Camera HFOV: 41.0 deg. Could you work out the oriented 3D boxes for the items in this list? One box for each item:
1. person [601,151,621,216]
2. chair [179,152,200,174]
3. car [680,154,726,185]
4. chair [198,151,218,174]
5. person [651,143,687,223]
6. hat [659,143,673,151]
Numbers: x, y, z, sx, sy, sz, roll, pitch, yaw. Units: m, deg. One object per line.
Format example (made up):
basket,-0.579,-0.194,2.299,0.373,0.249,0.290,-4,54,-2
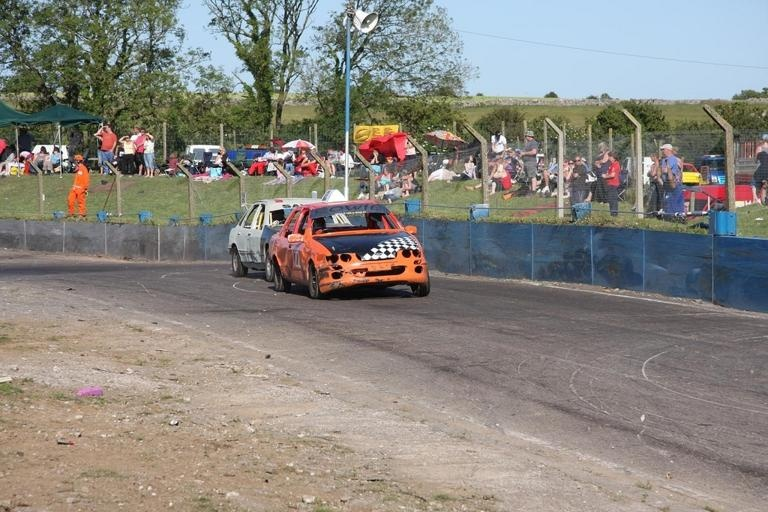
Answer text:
person,4.927,-1.651,22.420,0.346,1.175,0.553,-1,13,-12
chair,-8.588,-4.185,46.069,0.747,0.856,2.026,-1,11,-11
car,6.231,-1.730,20.228,0.929,0.531,1.774,-1,2,4
chair,-7.850,-4.181,45.714,0.822,0.901,1.093,0,11,-6
person,5.816,-1.613,21.034,0.613,1.356,0.451,7,13,22
hat,5.722,-2.254,21.062,0.246,0.131,0.103,9,14,37
